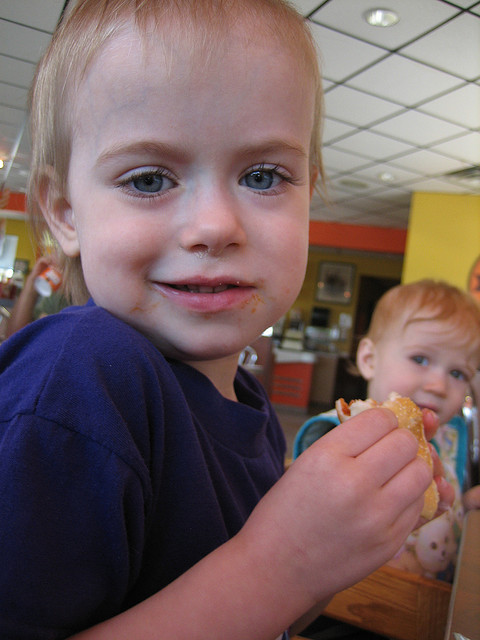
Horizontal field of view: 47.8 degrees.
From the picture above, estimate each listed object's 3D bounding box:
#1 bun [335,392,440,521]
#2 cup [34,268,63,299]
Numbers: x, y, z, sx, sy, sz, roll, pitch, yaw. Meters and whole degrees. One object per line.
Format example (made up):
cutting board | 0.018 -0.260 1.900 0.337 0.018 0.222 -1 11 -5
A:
bun | 0.212 0.165 0.778 0.181 0.173 0.063 -18 19 -34
cup | -0.858 -0.168 2.420 0.103 0.114 0.102 18 -46 19
